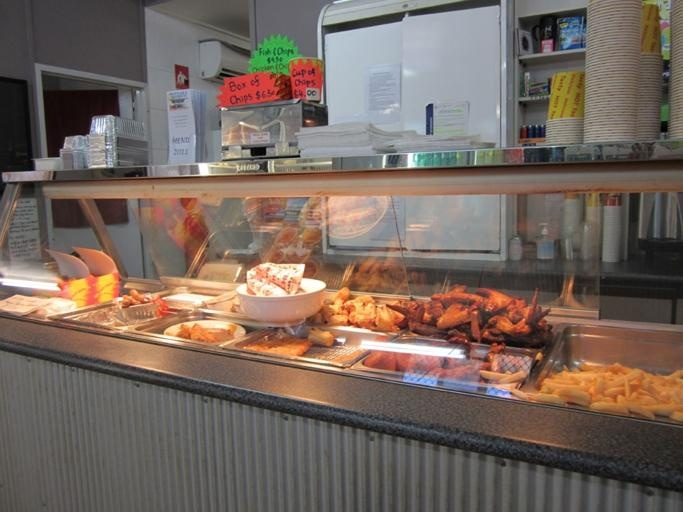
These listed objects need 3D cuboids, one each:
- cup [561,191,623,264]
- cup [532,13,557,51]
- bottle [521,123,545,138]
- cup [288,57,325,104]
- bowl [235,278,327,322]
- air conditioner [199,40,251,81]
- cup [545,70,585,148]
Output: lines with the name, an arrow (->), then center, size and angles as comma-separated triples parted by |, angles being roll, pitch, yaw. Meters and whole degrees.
cup -> 0.700, -0.077, 1.394 | 0.158, 0.207, 0.306 | 2, 10, 29
cup -> 1.512, -1.606, 3.720 | 0.240, 0.203, 0.145 | 2, 12, 16
bottle -> 1.424, -0.920, 3.761 | 0.149, 0.123, 0.113 | 0, -3, 7
cup -> -0.117, -0.617, 1.789 | 0.156, 0.118, 0.157 | 0, 10, 0
bowl -> -0.182, 0.159, 1.657 | 0.280, 0.105, 0.281 | -3, 5, 0
air conditioner -> -1.315, -2.340, 6.256 | 0.313, 0.424, 0.969 | 13, 17, 24
cup -> 0.562, -0.371, 1.267 | 0.084, 0.189, 0.187 | 1, 10, 23
